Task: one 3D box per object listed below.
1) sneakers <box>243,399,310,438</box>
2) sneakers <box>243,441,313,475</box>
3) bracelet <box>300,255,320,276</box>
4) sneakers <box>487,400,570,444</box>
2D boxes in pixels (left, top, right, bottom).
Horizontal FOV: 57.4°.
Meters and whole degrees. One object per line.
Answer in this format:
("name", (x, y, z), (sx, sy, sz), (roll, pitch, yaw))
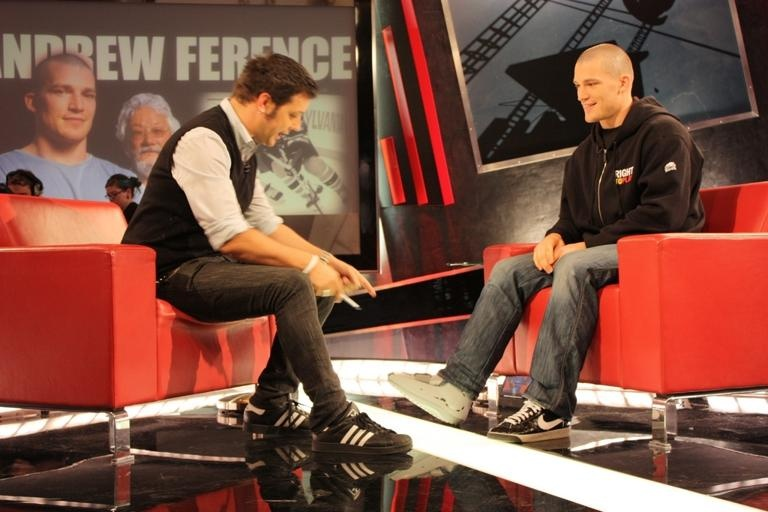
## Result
("sneakers", (-0.457, 0.726, 3.172), (0.386, 0.154, 0.162), (15, -14, -42))
("sneakers", (-0.428, 0.811, 2.825), (0.262, 0.088, 0.089), (-1, 9, -15))
("bracelet", (-0.295, 0.041, 2.893), (0.074, 0.019, 0.069), (-29, 20, 45))
("sneakers", (0.610, 0.700, 2.982), (0.411, 0.174, 0.136), (4, -11, -27))
